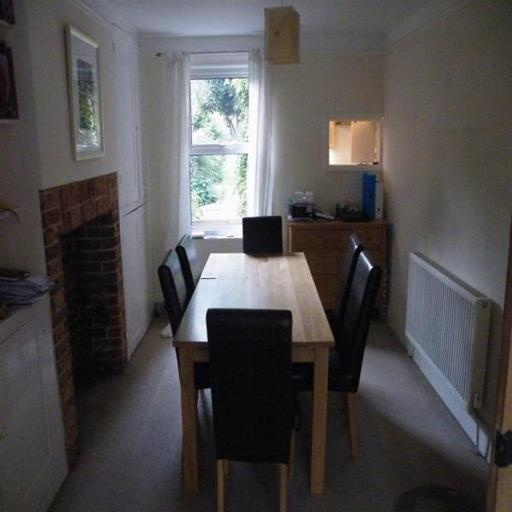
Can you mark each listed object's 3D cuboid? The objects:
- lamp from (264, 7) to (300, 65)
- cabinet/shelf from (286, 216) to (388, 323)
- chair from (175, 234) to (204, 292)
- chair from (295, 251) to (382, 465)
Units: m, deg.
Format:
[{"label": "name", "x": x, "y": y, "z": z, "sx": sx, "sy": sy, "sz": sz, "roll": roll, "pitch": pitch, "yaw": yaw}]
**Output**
[{"label": "lamp", "x": 0.147, "y": -1.237, "z": 2.493, "sx": 0.186, "sy": 0.289, "sz": 0.178, "roll": 0, "pitch": 11, "yaw": 1}, {"label": "cabinet/shelf", "x": 0.592, "y": 0.060, "z": 3.345, "sx": 0.692, "sy": 0.915, "sz": 0.341, "roll": -1, "pitch": 7, "yaw": 0}, {"label": "chair", "x": -0.490, "y": 0.044, "z": 3.236, "sx": 0.222, "sy": 0.516, "sz": 0.260, "roll": -1, "pitch": 24, "yaw": -3}, {"label": "chair", "x": 0.368, "y": 0.487, "z": 2.541, "sx": 0.523, "sy": 1.007, "sz": 0.614, "roll": 4, "pitch": 8, "yaw": -6}]
